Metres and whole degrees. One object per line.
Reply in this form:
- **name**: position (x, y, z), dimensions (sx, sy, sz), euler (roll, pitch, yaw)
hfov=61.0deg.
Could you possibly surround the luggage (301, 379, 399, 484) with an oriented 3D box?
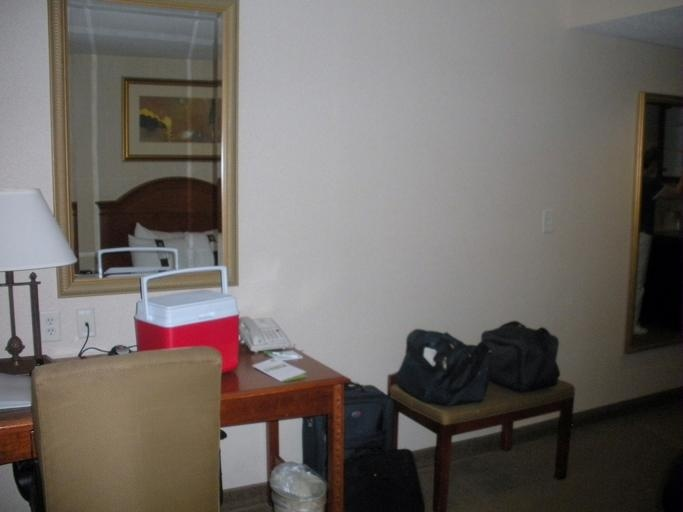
- **luggage**: position (0.075, 0.773, 3.047), dimensions (0.575, 0.666, 0.371), euler (1, 1, -22)

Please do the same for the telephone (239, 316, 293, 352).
- **telephone**: position (-0.377, 0.364, 2.755), dimensions (0.217, 0.105, 0.280), euler (1, 9, -22)

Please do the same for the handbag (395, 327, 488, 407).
- **handbag**: position (0.466, 0.525, 3.060), dimensions (0.474, 0.323, 0.439), euler (3, 14, 36)

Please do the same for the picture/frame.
- **picture/frame**: position (-0.802, -0.646, 2.684), dimensions (0.373, 0.311, 0.016), euler (-2, 7, -18)

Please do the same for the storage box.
- **storage box**: position (-0.655, 0.289, 2.499), dimensions (0.349, 0.467, 0.322), euler (-6, 0, -39)

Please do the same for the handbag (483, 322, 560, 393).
- **handbag**: position (0.983, 0.567, 3.272), dimensions (0.418, 0.322, 0.435), euler (2, 0, -40)
